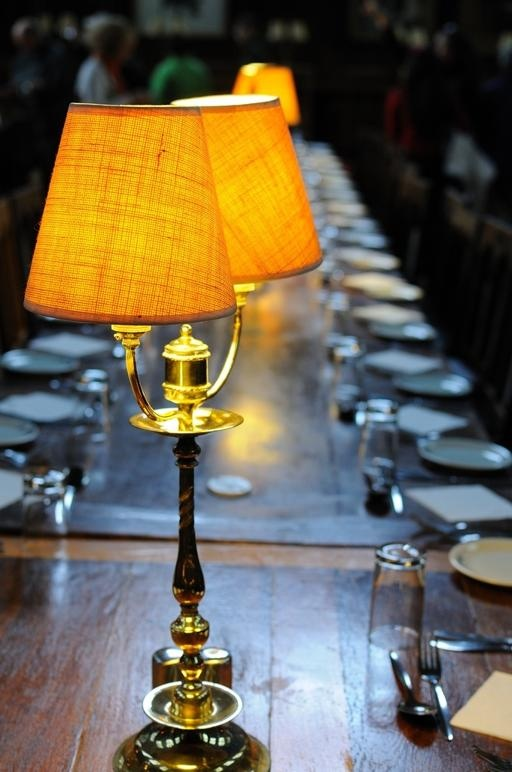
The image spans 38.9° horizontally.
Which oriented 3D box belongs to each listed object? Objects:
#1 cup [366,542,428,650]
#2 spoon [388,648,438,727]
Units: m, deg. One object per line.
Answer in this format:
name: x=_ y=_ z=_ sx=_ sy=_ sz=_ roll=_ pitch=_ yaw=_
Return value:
cup: x=0.172 y=0.261 z=0.871 sx=0.060 sy=0.094 sz=0.092 roll=6 pitch=37 yaw=5
spoon: x=0.162 y=0.324 z=0.777 sx=0.024 sy=0.015 sz=0.105 roll=3 pitch=12 yaw=-8
